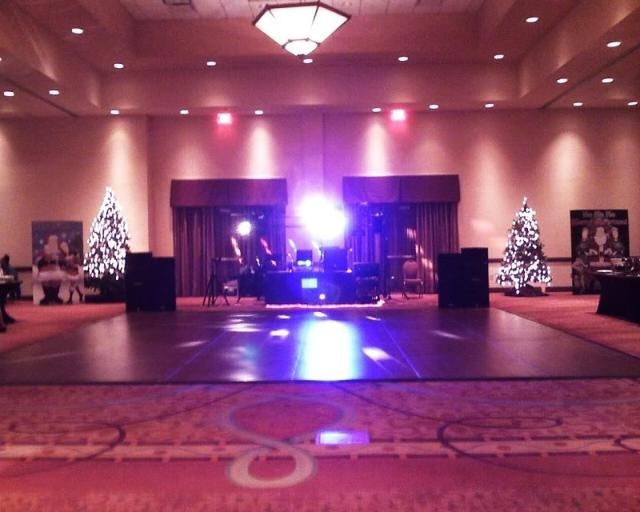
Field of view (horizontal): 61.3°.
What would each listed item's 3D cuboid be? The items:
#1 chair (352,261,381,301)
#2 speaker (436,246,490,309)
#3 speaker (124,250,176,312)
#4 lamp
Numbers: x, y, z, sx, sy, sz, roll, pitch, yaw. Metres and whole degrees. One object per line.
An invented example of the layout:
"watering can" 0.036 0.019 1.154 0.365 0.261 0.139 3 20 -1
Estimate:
"chair" 0.977 0.551 11.264 0.613 0.811 0.410 -1 6 -4
"speaker" 2.730 0.442 10.243 0.931 1.269 0.442 0 3 6
"speaker" -3.252 0.515 10.307 0.872 1.047 0.526 2 8 1
"lamp" -0.287 -4.006 9.452 1.387 0.667 1.445 -1 -8 -1
